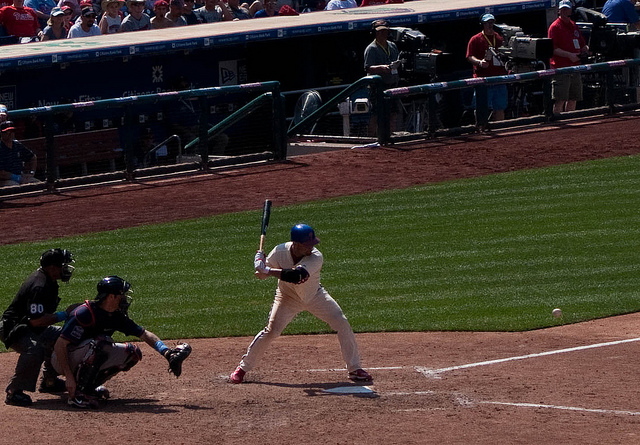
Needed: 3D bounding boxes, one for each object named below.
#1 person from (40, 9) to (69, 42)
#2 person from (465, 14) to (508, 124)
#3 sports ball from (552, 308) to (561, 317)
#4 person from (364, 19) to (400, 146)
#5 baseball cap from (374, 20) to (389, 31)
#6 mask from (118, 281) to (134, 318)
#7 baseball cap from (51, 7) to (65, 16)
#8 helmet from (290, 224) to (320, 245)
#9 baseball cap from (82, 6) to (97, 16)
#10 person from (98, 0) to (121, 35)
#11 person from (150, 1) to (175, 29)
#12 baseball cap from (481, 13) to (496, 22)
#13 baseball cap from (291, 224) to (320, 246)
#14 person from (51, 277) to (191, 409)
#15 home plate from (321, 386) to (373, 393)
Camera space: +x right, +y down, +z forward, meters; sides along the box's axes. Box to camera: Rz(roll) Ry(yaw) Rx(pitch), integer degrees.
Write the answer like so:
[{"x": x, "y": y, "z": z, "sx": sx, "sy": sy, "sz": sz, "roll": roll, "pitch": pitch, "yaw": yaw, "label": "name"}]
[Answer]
[{"x": -5.579, "y": -4.132, "z": 31.297, "sx": 0.493, "sy": 0.638, "sz": 1.017, "roll": -2, "pitch": 7, "yaw": -4, "label": "person"}, {"x": 3.406, "y": -3.157, "z": 30.613, "sx": 0.819, "sy": 2.175, "sz": 1.430, "roll": -1, "pitch": 8, "yaw": 7, "label": "person"}, {"x": 3.580, "y": 1.356, "z": 22.742, "sx": 0.125, "sy": 0.115, "sz": 0.164, "roll": -1, "pitch": 7, "yaw": 4, "label": "sports ball"}, {"x": 1.224, "y": -2.801, "z": 30.051, "sx": 0.672, "sy": 2.483, "sz": 1.334, "roll": -1, "pitch": 8, "yaw": 2, "label": "person"}, {"x": 1.209, "y": -3.963, "z": 30.178, "sx": 0.256, "sy": 0.200, "sz": 0.223, "roll": -2, "pitch": 7, "yaw": -4, "label": "baseball cap"}, {"x": -2.695, "y": 1.031, "z": 20.532, "sx": 0.261, "sy": 0.408, "sz": 0.330, "roll": 6, "pitch": 3, "yaw": -18, "label": "mask"}, {"x": -5.518, "y": -4.402, "z": 31.277, "sx": 0.242, "sy": 0.123, "sz": 0.358, "roll": -4, "pitch": 6, "yaw": -22, "label": "baseball cap"}, {"x": -0.229, "y": 0.168, "z": 20.666, "sx": 0.374, "sy": 0.162, "sz": 0.251, "roll": 1, "pitch": 12, "yaw": -2, "label": "helmet"}, {"x": -4.791, "y": -4.356, "z": 30.872, "sx": 0.255, "sy": 0.197, "sz": 0.305, "roll": -2, "pitch": 7, "yaw": -8, "label": "baseball cap"}, {"x": -4.404, "y": -4.310, "z": 31.460, "sx": 0.530, "sy": 0.695, "sz": 0.450, "roll": -5, "pitch": 8, "yaw": -26, "label": "person"}, {"x": -3.409, "y": -4.430, "z": 32.042, "sx": 0.516, "sy": 0.581, "sz": 0.947, "roll": -2, "pitch": 7, "yaw": -5, "label": "person"}, {"x": 3.403, "y": -4.170, "z": 30.592, "sx": 0.241, "sy": 0.157, "sz": 0.404, "roll": -1, "pitch": 7, "yaw": 2, "label": "baseball cap"}, {"x": -0.219, "y": 0.162, "z": 20.646, "sx": 0.384, "sy": 0.176, "sz": 0.256, "roll": 4, "pitch": 14, "yaw": -3, "label": "baseball cap"}, {"x": -3.007, "y": 1.598, "z": 20.543, "sx": 1.162, "sy": 1.734, "sz": 0.602, "roll": -8, "pitch": 10, "yaw": -41, "label": "person"}, {"x": 0.360, "y": 2.296, "z": 20.739, "sx": 0.680, "sy": 0.044, "sz": 0.214, "roll": -1, "pitch": 7, "yaw": -2, "label": "home plate"}]
